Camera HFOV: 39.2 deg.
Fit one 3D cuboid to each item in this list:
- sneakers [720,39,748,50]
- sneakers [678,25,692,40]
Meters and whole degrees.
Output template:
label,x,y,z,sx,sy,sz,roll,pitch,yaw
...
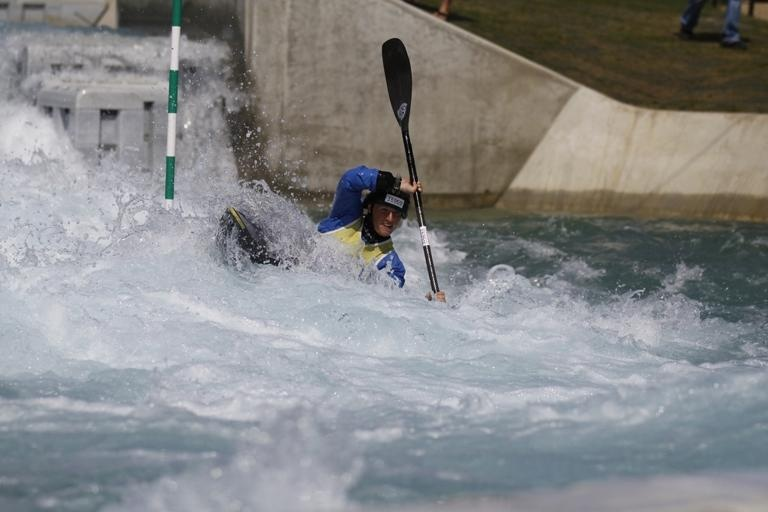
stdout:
label,x,y,z,sx,sy,sz,roll,pitch,yaw
sneakers,3.757,-2.266,11.596,0.281,0.110,0.097,5,-3,14
sneakers,3.253,-2.397,11.647,0.191,0.170,0.082,14,64,22
